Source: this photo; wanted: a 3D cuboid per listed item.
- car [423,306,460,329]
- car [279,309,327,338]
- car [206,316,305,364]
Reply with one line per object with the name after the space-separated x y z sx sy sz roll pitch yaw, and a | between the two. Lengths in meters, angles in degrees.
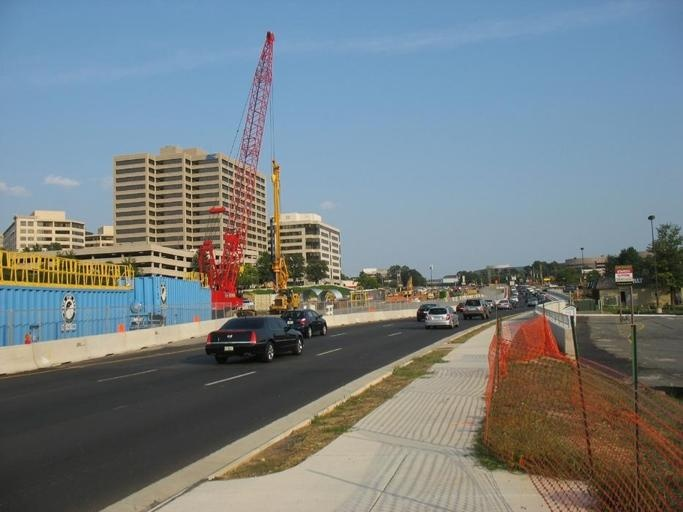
6.323 3.945 40.204 1.272 1.172 3.257 -2 -10 11 | car
-1.913 3.789 35.702 1.214 0.999 2.679 -1 -2 22 | car
-3.033 3.028 22.953 1.618 1.642 3.520 -6 -6 28 | car
